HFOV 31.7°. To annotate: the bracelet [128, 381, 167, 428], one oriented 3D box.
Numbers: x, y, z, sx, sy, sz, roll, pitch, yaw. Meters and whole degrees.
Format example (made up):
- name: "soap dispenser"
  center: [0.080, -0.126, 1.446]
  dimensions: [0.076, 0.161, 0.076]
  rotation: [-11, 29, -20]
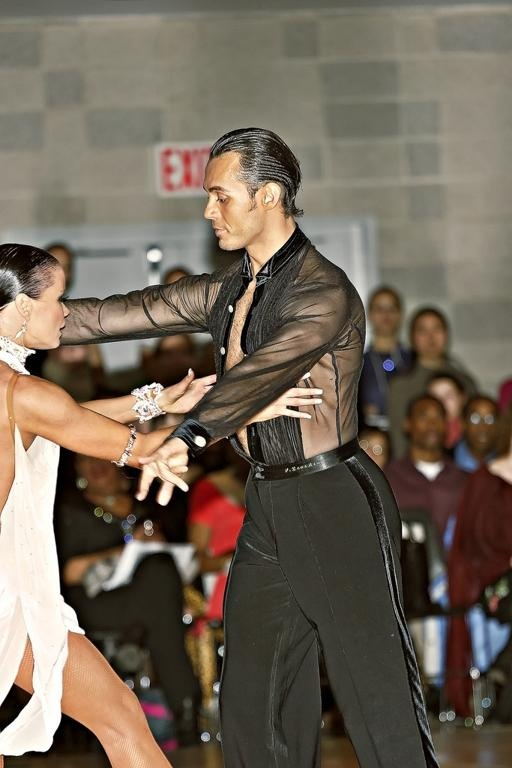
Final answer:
- name: "bracelet"
  center: [-0.315, 0.053, 2.552]
  dimensions: [0.123, 0.096, 0.033]
  rotation: [-5, -7, -16]
